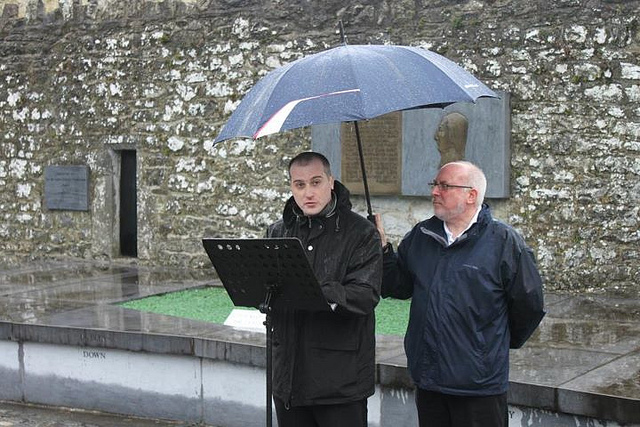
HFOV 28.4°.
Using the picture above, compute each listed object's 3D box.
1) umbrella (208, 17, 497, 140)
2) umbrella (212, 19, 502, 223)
[{"bbox_3d":[0.557,-1.548,14.521,1.609,0.688,1.641,-13,3,31],"label":"umbrella"},{"bbox_3d":[0.382,-1.238,12.722,2.155,1.911,2.290,-15,6,26],"label":"umbrella"}]
